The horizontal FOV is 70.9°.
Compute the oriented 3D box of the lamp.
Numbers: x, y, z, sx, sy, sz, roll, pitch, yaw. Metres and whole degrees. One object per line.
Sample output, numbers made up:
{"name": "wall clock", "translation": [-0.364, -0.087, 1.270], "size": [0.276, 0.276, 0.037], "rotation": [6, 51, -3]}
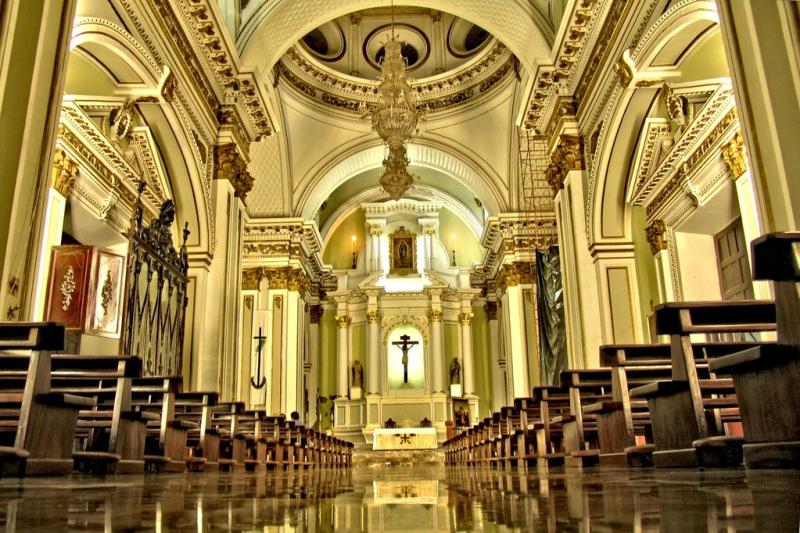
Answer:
{"name": "lamp", "translation": [-0.085, -3.308, 9.800], "size": [0.780, 4.525, 0.922], "rotation": [0, -22, -2]}

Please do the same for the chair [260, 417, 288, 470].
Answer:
{"name": "chair", "translation": [-2.021, 2.843, 8.965], "size": [0.359, 0.847, 0.892], "rotation": [0, -13, -6]}

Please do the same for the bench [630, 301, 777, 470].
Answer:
{"name": "bench", "translation": [2.148, 0.842, 3.719], "size": [1.127, 1.059, 0.579], "rotation": [8, -19, -14]}

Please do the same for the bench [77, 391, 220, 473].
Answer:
{"name": "bench", "translation": [-2.450, 1.606, 5.443], "size": [1.279, 0.717, 0.758], "rotation": [-3, -13, 14]}

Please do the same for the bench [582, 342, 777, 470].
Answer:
{"name": "bench", "translation": [2.230, 0.984, 4.064], "size": [1.473, 0.562, 0.477], "rotation": [-3, -38, 25]}

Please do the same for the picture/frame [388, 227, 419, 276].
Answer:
{"name": "picture/frame", "translation": [0.149, -0.616, 21.852], "size": [0.997, 2.010, 0.223], "rotation": [0, -22, -1]}
